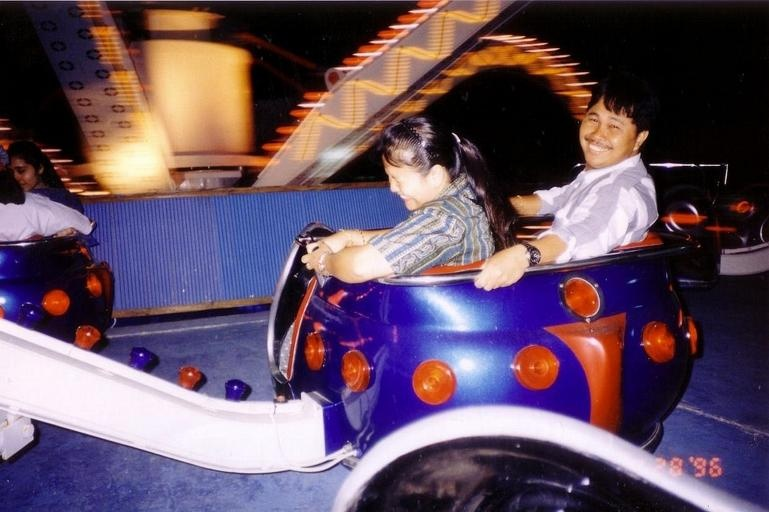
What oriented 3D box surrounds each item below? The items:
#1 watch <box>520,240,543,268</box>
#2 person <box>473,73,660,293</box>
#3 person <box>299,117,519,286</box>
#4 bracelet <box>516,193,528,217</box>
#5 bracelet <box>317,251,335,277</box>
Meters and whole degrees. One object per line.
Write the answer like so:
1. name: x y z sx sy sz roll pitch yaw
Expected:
1. watch: 0.656 -0.015 2.102 0.075 0.111 0.107 -9 82 -37
2. person: 1.111 -0.381 2.803 0.838 1.200 1.343 7 22 10
3. person: 0.092 -0.229 2.533 0.995 0.822 0.823 -16 20 -39
4. bracelet: 0.838 -0.311 2.977 0.127 0.115 0.128 -1 -7 17
5. bracelet: -0.305 0.047 2.428 0.054 0.109 0.128 19 15 -13
